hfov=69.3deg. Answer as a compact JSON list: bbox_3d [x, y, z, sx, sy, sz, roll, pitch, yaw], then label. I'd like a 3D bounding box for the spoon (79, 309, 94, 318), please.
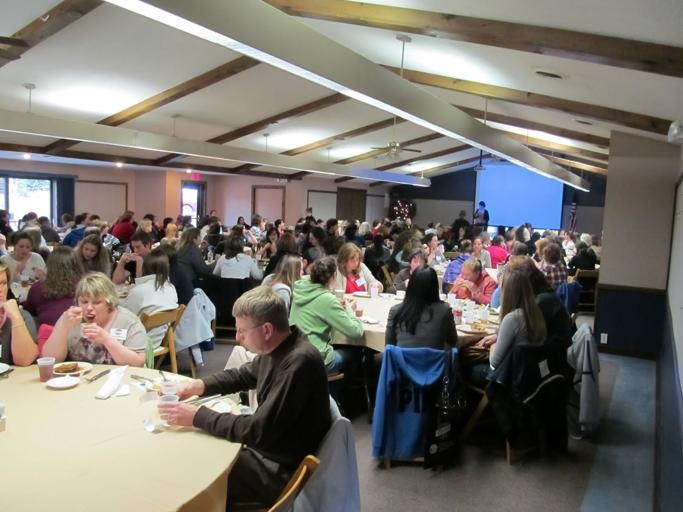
[{"bbox_3d":[-1.636,0.374,3.155,0.067,0.070,0.017,4,-2,30],"label":"spoon"}]

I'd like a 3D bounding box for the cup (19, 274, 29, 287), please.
[{"bbox_3d":[-3.099,0.260,4.832,0.067,0.082,0.071,-1,-3,0],"label":"cup"}]

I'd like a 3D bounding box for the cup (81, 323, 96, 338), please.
[{"bbox_3d":[-1.528,0.445,2.967,0.073,0.062,0.077,3,-3,0],"label":"cup"}]

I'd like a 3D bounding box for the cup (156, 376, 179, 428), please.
[{"bbox_3d":[-0.893,0.768,2.599,0.154,0.235,0.164,0,5,0],"label":"cup"}]

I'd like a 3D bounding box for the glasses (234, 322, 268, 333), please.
[{"bbox_3d":[-0.466,0.369,2.588,0.106,0.057,0.086,2,2,13],"label":"glasses"}]
